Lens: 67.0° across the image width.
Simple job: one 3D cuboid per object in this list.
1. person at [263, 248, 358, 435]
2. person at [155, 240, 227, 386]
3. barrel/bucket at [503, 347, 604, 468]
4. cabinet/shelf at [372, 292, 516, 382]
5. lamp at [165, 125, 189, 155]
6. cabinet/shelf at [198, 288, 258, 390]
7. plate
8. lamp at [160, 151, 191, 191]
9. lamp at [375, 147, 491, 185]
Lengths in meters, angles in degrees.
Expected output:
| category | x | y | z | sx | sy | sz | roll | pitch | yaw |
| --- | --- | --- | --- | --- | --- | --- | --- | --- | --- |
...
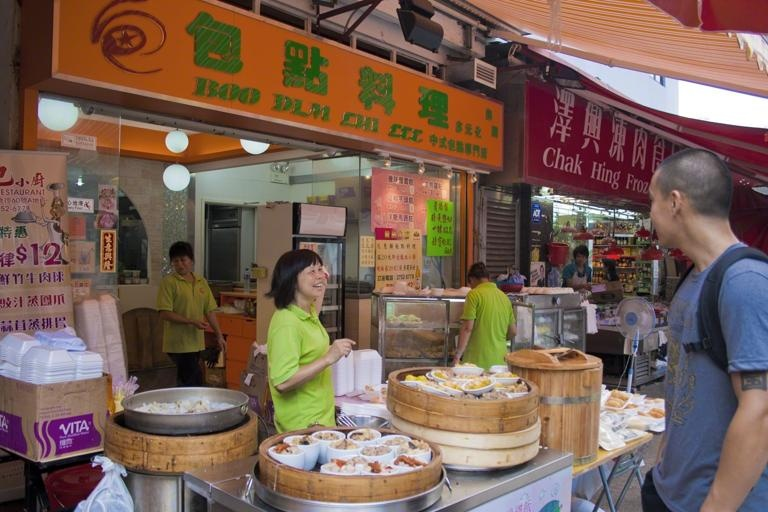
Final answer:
| category | x | y | z | sx | sy | sz | roll | pitch | yaw |
| --- | --- | --- | --- | --- | --- | --- | --- | --- | --- |
| person | -0.485 | 0.571 | 3.809 | 0.508 | 1.223 | 0.692 | 0 | 1 | -42 |
| person | -2.236 | 0.663 | 6.651 | 0.507 | 1.625 | 0.697 | 0 | 1 | 11 |
| barrel/bucket | 1.103 | 0.957 | 3.917 | 0.716 | 0.723 | 0.651 | -1 | -1 | -6 |
| cabinet/shelf | 0.569 | 0.783 | 5.675 | 0.931 | 0.817 | 0.320 | -1 | 6 | -21 |
| lamp | -2.653 | -1.487 | 7.459 | 0.233 | 0.293 | 0.443 | 0 | 1 | -24 |
| cabinet/shelf | -1.955 | 1.081 | 7.307 | 0.468 | 1.211 | 1.306 | 6 | -9 | -43 |
| plate | 0.502 | 0.776 | 3.607 | 0.782 | 0.067 | 0.729 | 0 | 1 | 1 |
| lamp | -2.830 | -1.089 | 7.966 | 0.286 | 0.349 | 0.281 | 0 | 1 | -13 |
| lamp | 0.535 | -1.050 | 6.868 | 1.802 | 0.190 | 0.381 | 0 | 1 | -41 |
